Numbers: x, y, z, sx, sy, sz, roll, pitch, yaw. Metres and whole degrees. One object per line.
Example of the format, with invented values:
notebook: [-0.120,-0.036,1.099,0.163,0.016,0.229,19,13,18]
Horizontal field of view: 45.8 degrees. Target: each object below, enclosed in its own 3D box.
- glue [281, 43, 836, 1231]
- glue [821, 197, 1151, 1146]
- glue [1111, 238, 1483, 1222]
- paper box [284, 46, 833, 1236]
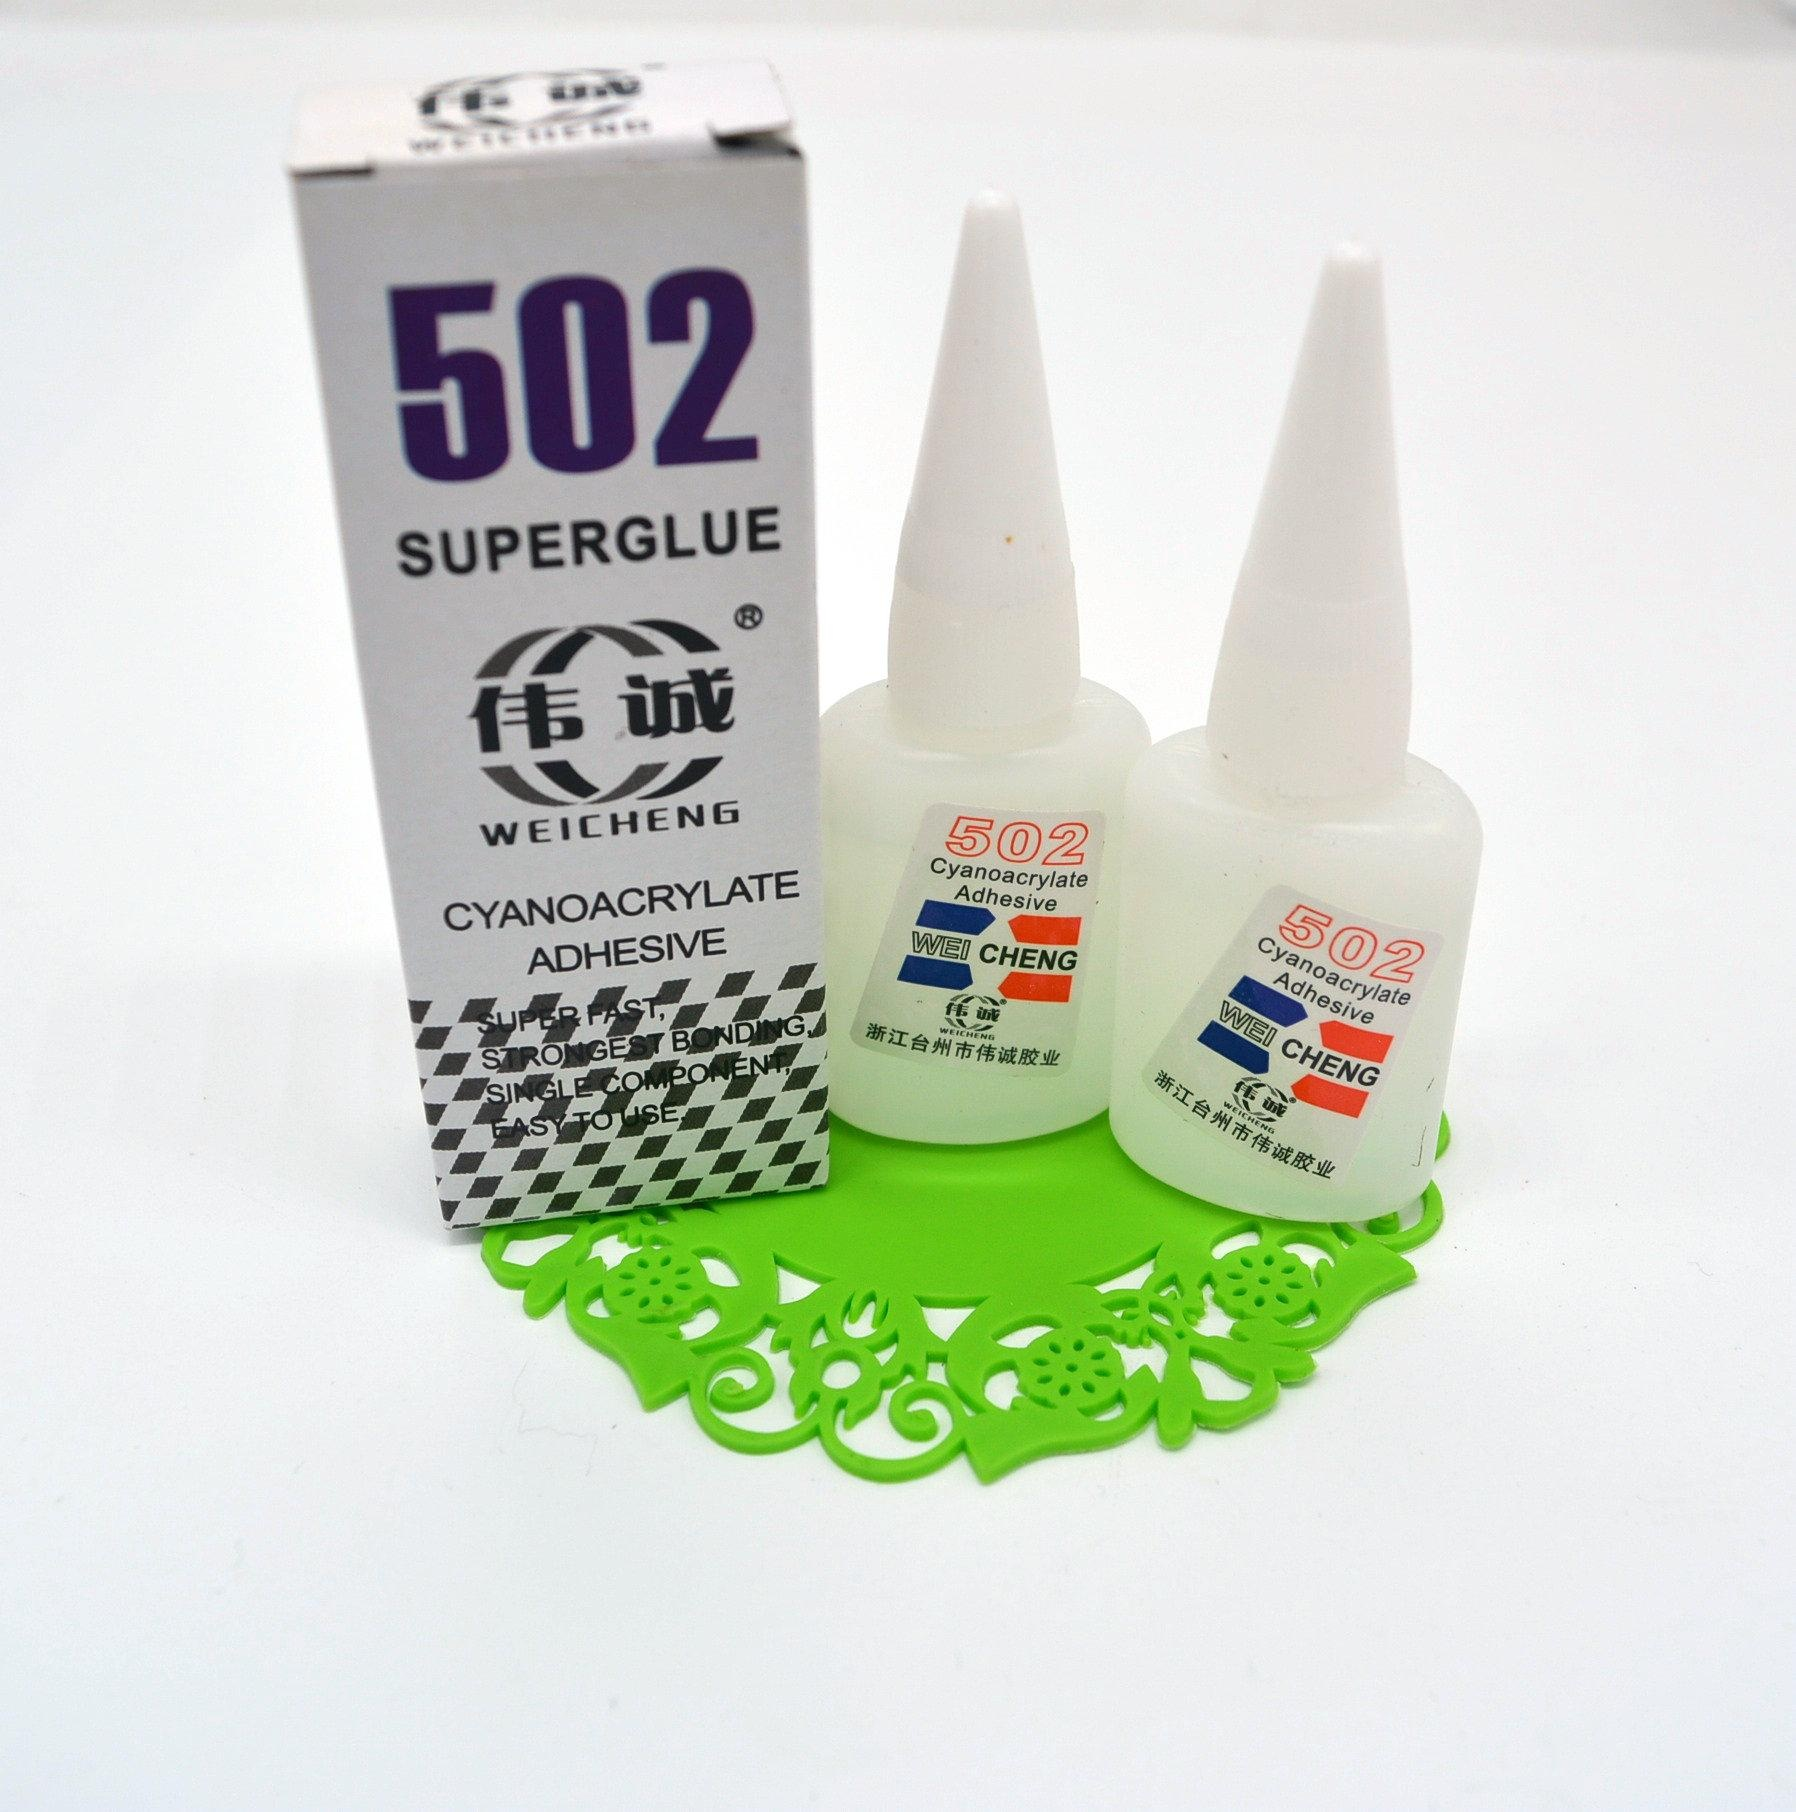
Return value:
glue: [-0.156,-0.078,0.924,0.204,0.437,0.118,-11,17,-34]
glue: [0.059,-0.121,1.048,0.212,0.434,0.189,-4,8,-8]
glue: [0.199,-0.081,0.969,0.189,0.425,0.153,8,24,22]
paper box: [-0.145,-0.117,0.990,0.235,0.537,0.169,-6,29,-10]
